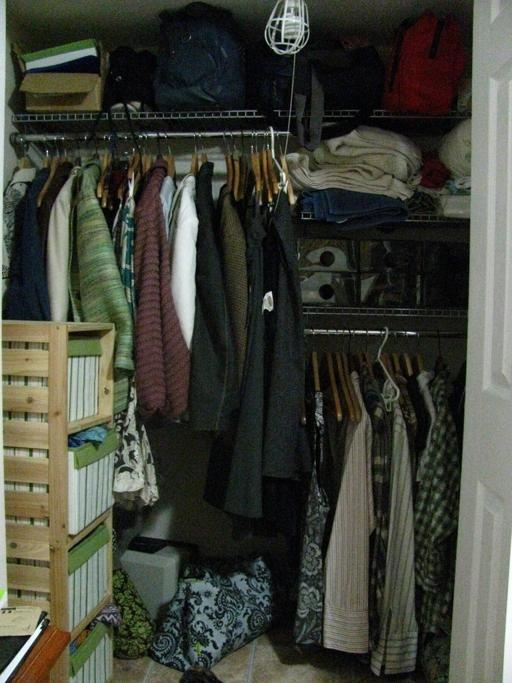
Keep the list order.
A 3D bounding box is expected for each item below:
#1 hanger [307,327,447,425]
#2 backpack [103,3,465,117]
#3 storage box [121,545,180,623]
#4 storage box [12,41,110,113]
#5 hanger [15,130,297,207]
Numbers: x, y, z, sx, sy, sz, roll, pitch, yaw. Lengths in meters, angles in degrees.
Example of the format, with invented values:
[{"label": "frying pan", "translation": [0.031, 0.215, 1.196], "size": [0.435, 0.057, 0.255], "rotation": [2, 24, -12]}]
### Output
[{"label": "hanger", "translation": [0.392, 0.061, 2.100], "size": [0.318, 0.416, 0.157], "rotation": [-5, 14, 0]}, {"label": "backpack", "translation": [0.227, -0.833, 1.996], "size": [0.801, 0.275, 0.498], "rotation": [2, 23, 10]}, {"label": "storage box", "translation": [-0.337, 0.832, 2.100], "size": [0.195, 0.195, 0.191], "rotation": [-3, -5, 16]}, {"label": "storage box", "translation": [-0.620, -0.840, 1.983], "size": [0.248, 0.174, 0.232], "rotation": [-1, 21, 3]}, {"label": "hanger", "translation": [-0.319, -0.552, 1.930], "size": [0.893, 0.368, 0.247], "rotation": [2, 25, 7]}]
